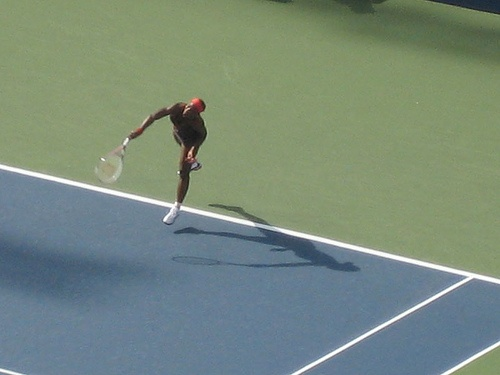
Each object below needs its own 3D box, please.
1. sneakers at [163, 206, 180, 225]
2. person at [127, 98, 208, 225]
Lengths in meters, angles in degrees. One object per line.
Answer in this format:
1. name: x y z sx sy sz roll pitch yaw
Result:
1. sneakers: -1.234 0.411 14.403 0.168 0.155 0.389 -36 12 24
2. person: -1.343 -0.348 14.737 0.851 1.641 1.430 32 51 10
